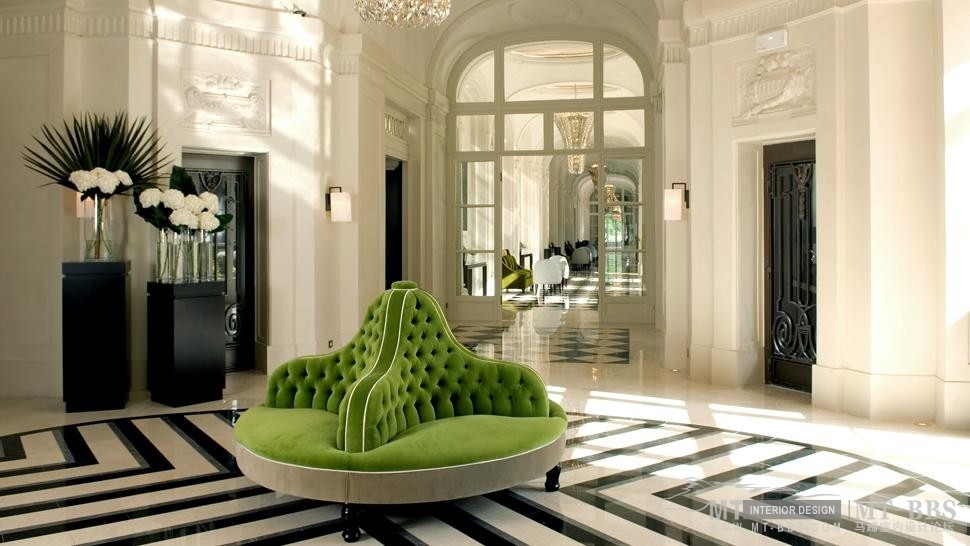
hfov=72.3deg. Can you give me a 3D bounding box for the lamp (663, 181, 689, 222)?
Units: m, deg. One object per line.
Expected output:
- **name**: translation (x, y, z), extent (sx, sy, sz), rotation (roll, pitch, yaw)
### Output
- **lamp**: translation (2.826, -1.072, 9.872), extent (0.339, 0.511, 0.389), rotation (2, 15, 7)

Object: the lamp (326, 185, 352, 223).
- **lamp**: translation (-2.206, -1.006, 9.993), extent (0.376, 0.559, 0.424), rotation (-4, 15, -12)

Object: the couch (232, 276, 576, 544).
- **couch**: translation (-0.808, 1.085, 6.266), extent (2.946, 1.683, 1.231), rotation (-1, 15, -1)

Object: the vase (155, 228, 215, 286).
- **vase**: translation (-3.876, -0.203, 9.004), extent (0.752, 0.857, 0.735), rotation (-2, -3, 15)
